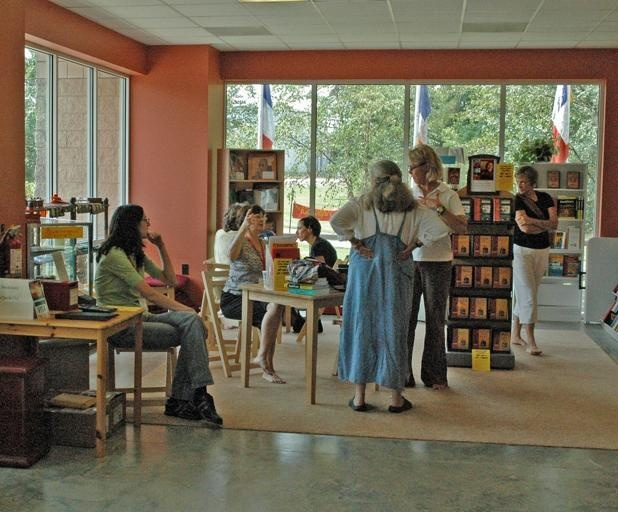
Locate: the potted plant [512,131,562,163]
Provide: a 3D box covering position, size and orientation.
[{"bbox_3d":[3.091,-1.438,7.939,0.420,0.328,0.479,2,5,20],"label":"potted plant"}]

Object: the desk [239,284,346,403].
[{"bbox_3d":[-0.260,0.640,4.666,0.650,0.605,0.591,5,-11,-2],"label":"desk"}]

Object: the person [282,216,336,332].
[{"bbox_3d":[0.132,0.138,5.764,0.629,1.113,0.460,-6,21,15],"label":"person"}]

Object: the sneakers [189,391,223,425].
[{"bbox_3d":[-0.732,1.033,4.067,0.120,0.141,0.336,4,15,-43],"label":"sneakers"}]

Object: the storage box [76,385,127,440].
[{"bbox_3d":[-1.368,1.012,3.830,0.263,0.156,0.259,1,2,2],"label":"storage box"}]

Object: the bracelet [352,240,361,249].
[{"bbox_3d":[0.342,-0.086,4.209,0.056,0.051,0.056,2,-1,-7],"label":"bracelet"}]

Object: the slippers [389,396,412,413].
[{"bbox_3d":[0.693,1.121,4.403,0.084,0.082,0.199,1,2,34],"label":"slippers"}]

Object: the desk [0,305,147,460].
[{"bbox_3d":[-1.333,0.721,3.703,0.840,0.758,0.842,0,1,22],"label":"desk"}]

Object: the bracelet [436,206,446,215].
[{"bbox_3d":[1.072,-0.371,4.725,0.085,0.054,0.077,9,6,12],"label":"bracelet"}]

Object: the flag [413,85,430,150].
[{"bbox_3d":[1.599,-1.976,8.205,0.245,0.831,0.060,2,5,9],"label":"flag"}]

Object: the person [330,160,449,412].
[{"bbox_3d":[0.551,0.235,4.296,0.770,1.862,0.399,2,5,12],"label":"person"}]

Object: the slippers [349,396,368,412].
[{"bbox_3d":[0.369,1.118,4.397,0.120,0.091,0.315,-1,2,-1],"label":"slippers"}]
